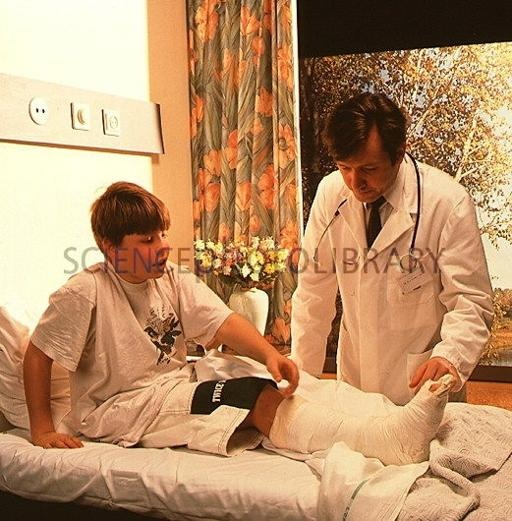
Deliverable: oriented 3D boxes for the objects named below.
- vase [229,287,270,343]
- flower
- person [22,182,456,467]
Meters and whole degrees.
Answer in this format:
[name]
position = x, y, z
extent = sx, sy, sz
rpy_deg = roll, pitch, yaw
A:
[vase]
position = -0.016, 0.296, 2.496
extent = 0.242, 0.409, 0.273
rpy_deg = -2, 3, 2
[flower]
position = -0.082, 0.023, 2.614
extent = 0.397, 0.266, 0.385
rpy_deg = 1, -5, 0
[person]
position = -0.049, 0.179, 1.346
extent = 1.120, 0.772, 0.544
rpy_deg = -2, -5, 16
